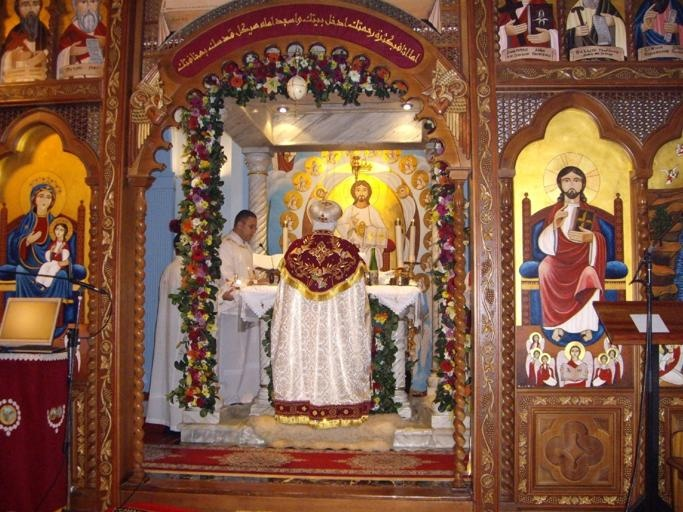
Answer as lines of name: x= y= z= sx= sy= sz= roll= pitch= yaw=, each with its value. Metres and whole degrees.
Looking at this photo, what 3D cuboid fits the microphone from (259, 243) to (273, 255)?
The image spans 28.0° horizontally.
microphone: x=-0.898 y=-0.069 z=16.282 sx=0.130 sy=0.126 sz=0.131 roll=-2 pitch=-11 yaw=3
